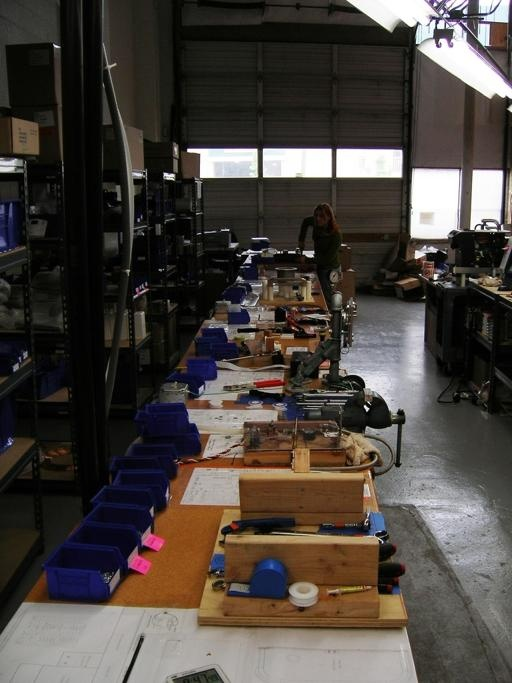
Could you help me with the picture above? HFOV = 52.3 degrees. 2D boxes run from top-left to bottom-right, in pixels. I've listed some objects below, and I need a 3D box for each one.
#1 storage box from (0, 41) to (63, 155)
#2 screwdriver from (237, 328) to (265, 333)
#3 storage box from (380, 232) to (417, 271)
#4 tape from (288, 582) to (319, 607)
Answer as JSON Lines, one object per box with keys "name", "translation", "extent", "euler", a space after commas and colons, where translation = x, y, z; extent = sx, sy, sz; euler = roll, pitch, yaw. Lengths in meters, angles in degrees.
{"name": "storage box", "translation": [-1.270, -1.376, 3.007], "extent": [0.281, 0.661, 0.196], "euler": [-7, 12, -16]}
{"name": "screwdriver", "translation": [-0.046, -0.080, 3.901], "extent": [0.230, 0.033, 0.037], "euler": [-1, 17, -18]}
{"name": "storage box", "translation": [2.761, -1.730, 10.178], "extent": [0.440, 0.703, 0.797], "euler": [-6, 12, -12]}
{"name": "tape", "translation": [0.099, 0.529, 1.098], "extent": [0.063, 0.030, 0.074], "euler": [-3, 11, 1]}
